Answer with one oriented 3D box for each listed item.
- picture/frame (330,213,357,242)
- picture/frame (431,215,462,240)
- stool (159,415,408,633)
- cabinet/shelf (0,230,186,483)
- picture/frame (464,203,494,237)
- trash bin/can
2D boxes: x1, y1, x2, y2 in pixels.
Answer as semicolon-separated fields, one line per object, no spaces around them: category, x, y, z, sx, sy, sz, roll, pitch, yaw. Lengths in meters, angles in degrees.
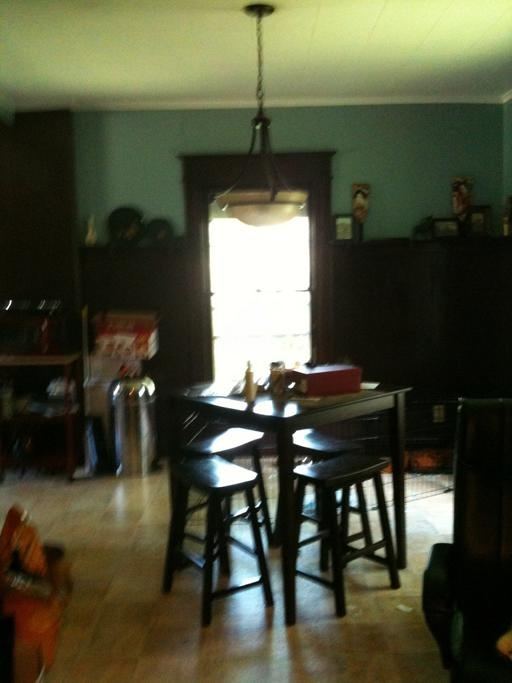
picture/frame;0.605;-0.793;4.307;0.204;0.243;0.024;-1;-1;-1
picture/frame;1.259;-0.763;4.141;0.170;0.169;0.385;0;6;19
stool;0.086;0.636;2.399;0.688;0.428;0.731;2;-3;-26
cabinet/shelf;-1.125;0.090;4.137;1.566;1.570;0.530;0;-2;-7
picture/frame;1.492;-0.811;4.200;0.186;0.289;0.192;0;-1;7
trash bin/can;-0.840;0.573;4.247;0.315;0.617;0.271;-3;5;-11
